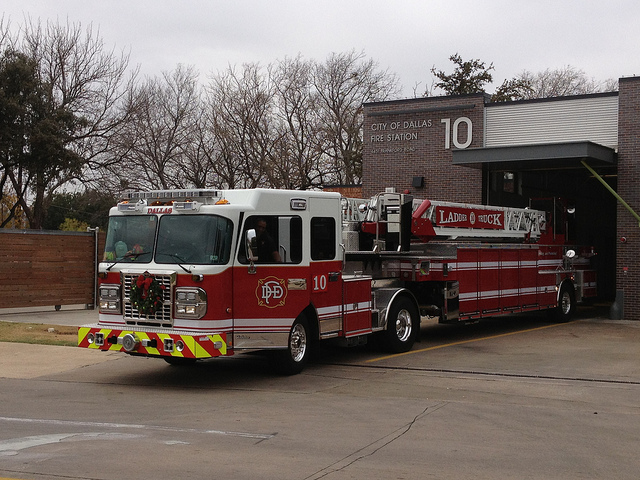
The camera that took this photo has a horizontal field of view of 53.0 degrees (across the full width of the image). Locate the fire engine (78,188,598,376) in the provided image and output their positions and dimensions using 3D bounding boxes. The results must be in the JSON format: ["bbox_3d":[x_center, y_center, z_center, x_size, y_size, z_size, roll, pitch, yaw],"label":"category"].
[{"bbox_3d":[2.347,0.537,17.004,4.049,3.980,16.511,3,2,44],"label":"fire engine"}]

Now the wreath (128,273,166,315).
[{"bbox_3d":[-2.907,0.903,10.848,0.585,0.677,0.238,1,-1,32],"label":"wreath"}]

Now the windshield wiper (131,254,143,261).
[{"bbox_3d":[-3.167,0.304,11.151,0.162,0.099,0.026,0,0,24],"label":"windshield wiper"}]
